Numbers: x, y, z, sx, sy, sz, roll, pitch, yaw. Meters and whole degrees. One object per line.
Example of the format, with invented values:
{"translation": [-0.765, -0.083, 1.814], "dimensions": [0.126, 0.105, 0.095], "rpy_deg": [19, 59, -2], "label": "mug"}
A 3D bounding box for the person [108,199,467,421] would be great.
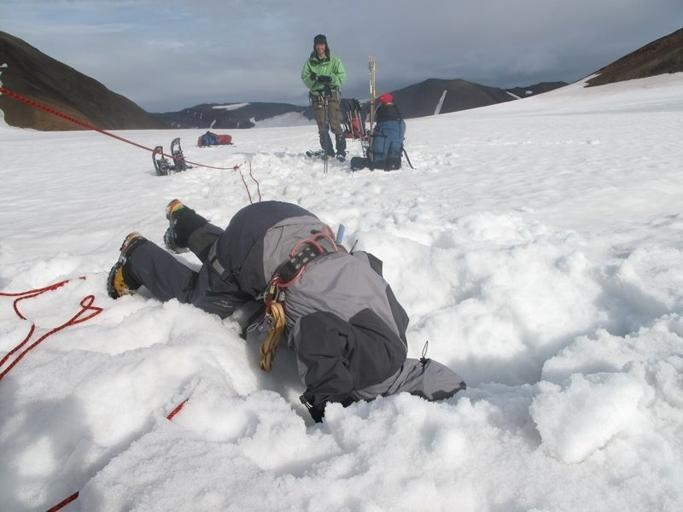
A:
{"translation": [-0.533, 0.330, 3.236], "dimensions": [2.321, 0.968, 1.300], "rpy_deg": [33, 31, 11], "label": "person"}

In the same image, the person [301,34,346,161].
{"translation": [-0.280, -2.777, 8.018], "dimensions": [0.742, 2.146, 0.618], "rpy_deg": [0, 25, 10], "label": "person"}
